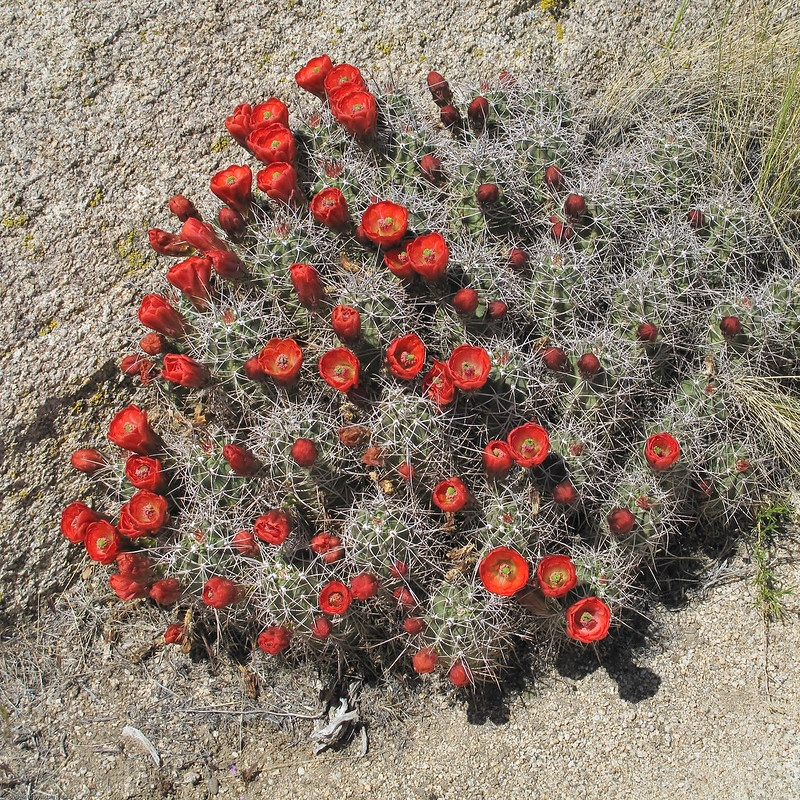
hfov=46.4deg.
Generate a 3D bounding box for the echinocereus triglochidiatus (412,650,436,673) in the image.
[{"bbox_3d":[0.106,1.081,3.896,0.089,0.070,0.117,17,82,-4],"label":"echinocereus triglochidiatus"}]

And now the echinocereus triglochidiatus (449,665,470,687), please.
[{"bbox_3d":[0.264,1.169,3.960,0.081,0.087,0.113,2,72,-11],"label":"echinocereus triglochidiatus"}]
